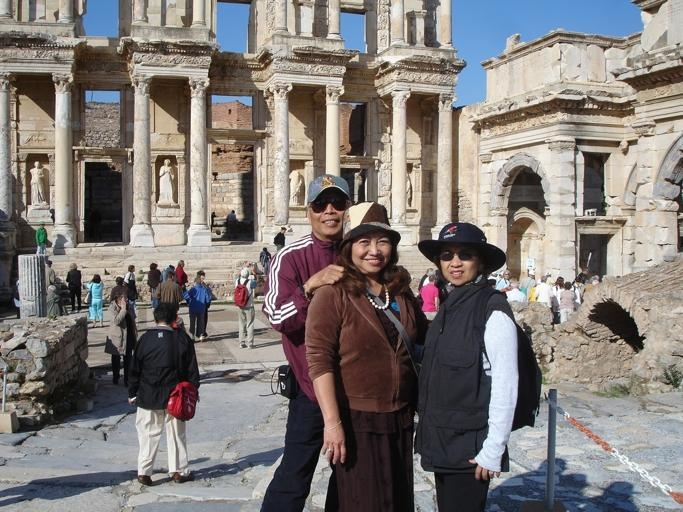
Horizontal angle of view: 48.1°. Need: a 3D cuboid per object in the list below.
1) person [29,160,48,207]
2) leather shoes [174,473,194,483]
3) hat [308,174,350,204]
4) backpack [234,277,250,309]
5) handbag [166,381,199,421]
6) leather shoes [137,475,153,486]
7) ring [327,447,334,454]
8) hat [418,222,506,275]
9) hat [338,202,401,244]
[{"bbox_3d":[-11.490,-2.741,29.013,0.683,1.724,0.863,-5,4,-22],"label":"person"},{"bbox_3d":[-2.004,2.806,9.735,0.101,0.111,0.262,6,9,33],"label":"leather shoes"},{"bbox_3d":[-0.158,-0.701,7.717,0.403,0.289,0.653,0,-5,-3],"label":"hat"},{"bbox_3d":[-2.183,0.890,16.970,0.263,0.536,0.426,-2,4,13],"label":"backpack"},{"bbox_3d":[-2.033,1.854,9.727,0.244,0.501,0.416,-7,-30,25],"label":"handbag"},{"bbox_3d":[-2.441,2.769,9.455,0.158,0.143,0.149,-5,4,-15],"label":"leather shoes"},{"bbox_3d":[-0.103,1.736,6.847,0.033,0.041,0.057,-2,-21,-37],"label":"ring"},{"bbox_3d":[1.159,-0.106,7.437,0.864,0.329,0.777,5,-15,-1],"label":"hat"},{"bbox_3d":[0.293,-0.325,7.336,0.534,0.395,0.708,-4,-9,6],"label":"hat"}]
